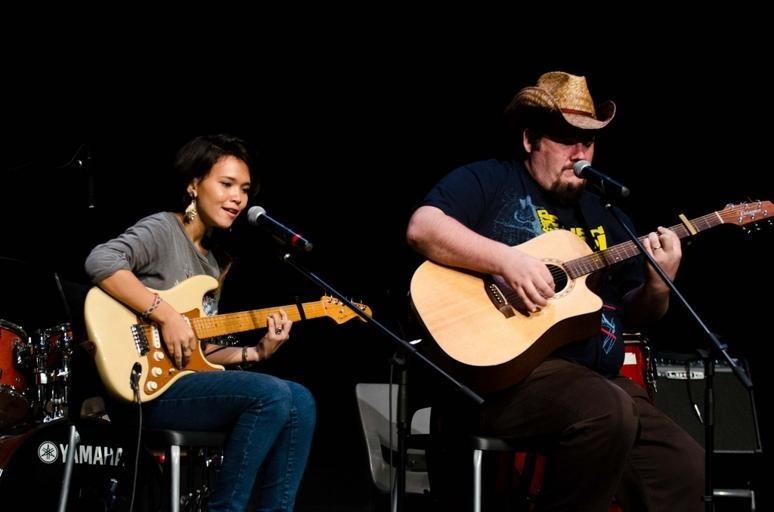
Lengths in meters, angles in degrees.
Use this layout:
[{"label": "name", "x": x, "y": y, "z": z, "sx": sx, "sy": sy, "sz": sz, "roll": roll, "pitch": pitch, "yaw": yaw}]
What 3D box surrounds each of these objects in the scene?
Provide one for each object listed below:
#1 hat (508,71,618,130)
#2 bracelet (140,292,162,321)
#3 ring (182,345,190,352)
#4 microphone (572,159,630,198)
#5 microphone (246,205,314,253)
[{"label": "hat", "x": 1.141, "y": -1.002, "z": 4.284, "sx": 0.604, "sy": 0.322, "sz": 0.738, "roll": 5, "pitch": 12, "yaw": -20}, {"label": "bracelet", "x": -1.354, "y": 0.284, "z": 3.818, "sx": 0.035, "sy": 0.126, "sz": 0.127, "roll": 37, "pitch": 4, "yaw": -27}, {"label": "ring", "x": -1.177, "y": 0.530, "z": 3.859, "sx": 0.036, "sy": 0.036, "sz": 0.008, "roll": 41, "pitch": 4, "yaw": -5}, {"label": "microphone", "x": 1.190, "y": -0.450, "z": 3.823, "sx": 0.133, "sy": 0.149, "sz": 0.557, "roll": 7, "pitch": 16, "yaw": -17}, {"label": "microphone", "x": -0.596, "y": -0.163, "z": 3.714, "sx": 0.436, "sy": 0.299, "sz": 0.141, "roll": -9, "pitch": -10, "yaw": 35}]
